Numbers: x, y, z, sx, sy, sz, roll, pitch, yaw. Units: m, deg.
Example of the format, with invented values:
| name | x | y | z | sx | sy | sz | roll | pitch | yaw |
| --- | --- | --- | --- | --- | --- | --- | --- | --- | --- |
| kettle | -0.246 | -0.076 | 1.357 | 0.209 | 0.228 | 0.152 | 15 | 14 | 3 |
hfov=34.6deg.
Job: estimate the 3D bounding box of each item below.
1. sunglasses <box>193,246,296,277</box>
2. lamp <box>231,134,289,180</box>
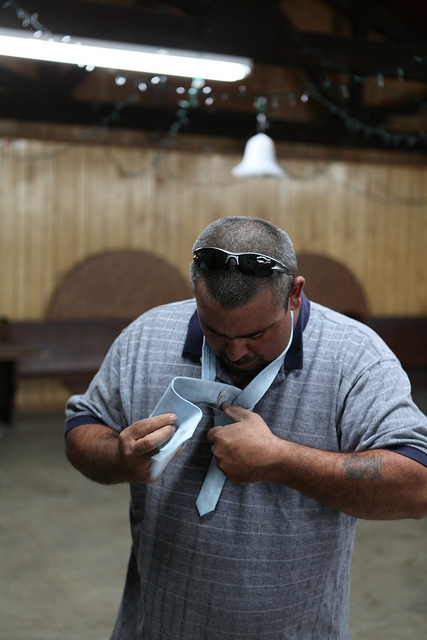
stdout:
| name | x | y | z | sx | sy | sz | roll | pitch | yaw |
| --- | --- | --- | --- | --- | --- | --- | --- | --- | --- |
| sunglasses | 0.059 | -0.114 | 1.350 | 0.198 | 0.056 | 0.074 | 1 | 6 | 1 |
| lamp | 0.289 | -1.075 | 4.461 | 0.420 | 0.281 | 0.411 | 4 | 8 | 18 |
